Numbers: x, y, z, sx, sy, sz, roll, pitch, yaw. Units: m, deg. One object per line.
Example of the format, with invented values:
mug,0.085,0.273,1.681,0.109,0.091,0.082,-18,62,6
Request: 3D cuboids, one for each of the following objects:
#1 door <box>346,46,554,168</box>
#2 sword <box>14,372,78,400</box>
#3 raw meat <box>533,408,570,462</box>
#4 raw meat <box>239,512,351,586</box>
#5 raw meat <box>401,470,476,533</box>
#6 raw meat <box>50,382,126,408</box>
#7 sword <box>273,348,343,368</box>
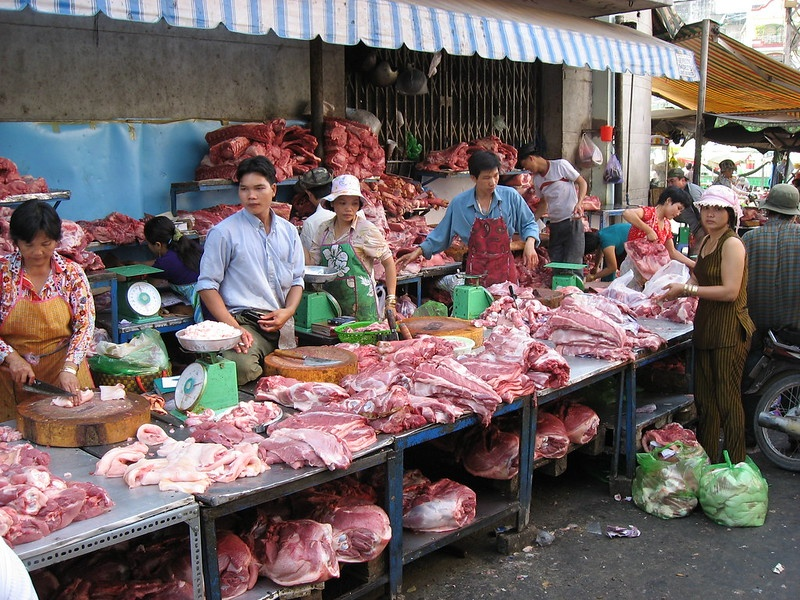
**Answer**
door,0.594,-2.791,9.925,2.853,1.650,0.115,-5,8,-41
sword,-2.176,0.528,4.159,0.679,0.156,0.072,8,2,39
raw meat,1.162,1.043,5.291,0.320,0.134,0.317,-8,32,-24
raw meat,-0.633,1.347,3.810,0.442,0.190,0.323,10,18,35
raw meat,0.220,1.317,4.512,0.347,0.127,0.327,8,27,25
raw meat,-1.822,0.563,4.001,0.240,0.079,0.171,-12,4,-44
sword,-0.638,0.401,4.684,0.584,0.053,0.154,5,15,42
